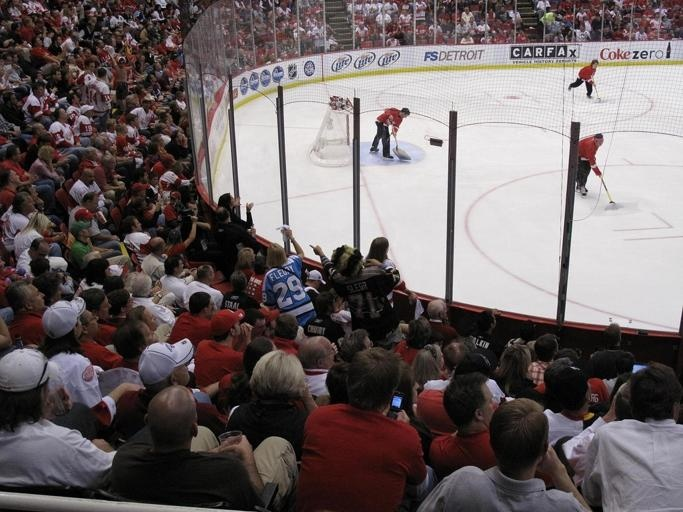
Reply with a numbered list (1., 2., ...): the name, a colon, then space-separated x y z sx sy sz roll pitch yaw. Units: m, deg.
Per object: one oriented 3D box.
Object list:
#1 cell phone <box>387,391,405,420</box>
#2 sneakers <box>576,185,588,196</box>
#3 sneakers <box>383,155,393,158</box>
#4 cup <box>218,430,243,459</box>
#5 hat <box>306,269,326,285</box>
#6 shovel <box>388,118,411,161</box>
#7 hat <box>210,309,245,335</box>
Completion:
1. cell phone: 0.328 0.914 3.906 0.093 0.122 0.144 4 -22 6
2. sneakers: 3.826 -1.047 10.331 0.098 0.125 0.313 9 23 20
3. sneakers: 0.876 -1.890 12.235 0.167 0.070 0.059 2 31 1
4. cup: -0.652 1.090 3.726 0.115 0.128 0.114 3 4 0
5. hat: -0.288 0.260 7.441 0.198 0.114 0.138 10 12 -25
6. shovel: 1.027 -2.154 12.226 0.215 0.924 0.133 -7 -22 -16
7. hat: -0.912 0.520 5.165 0.249 0.132 0.163 -37 42 -27
